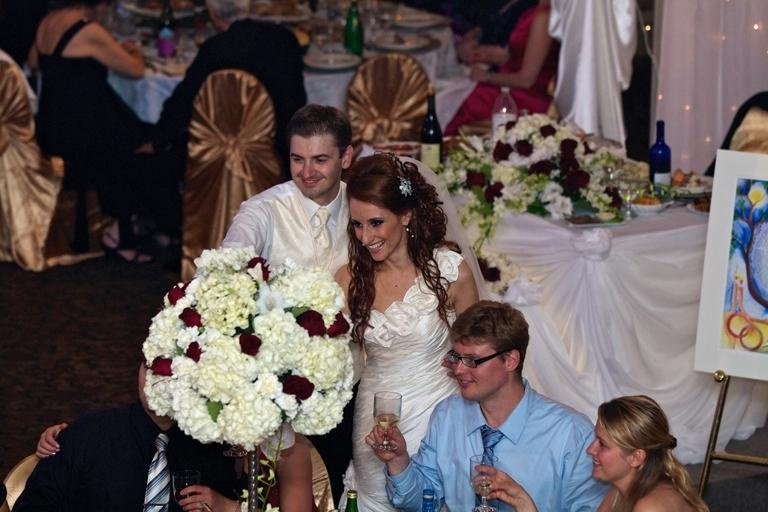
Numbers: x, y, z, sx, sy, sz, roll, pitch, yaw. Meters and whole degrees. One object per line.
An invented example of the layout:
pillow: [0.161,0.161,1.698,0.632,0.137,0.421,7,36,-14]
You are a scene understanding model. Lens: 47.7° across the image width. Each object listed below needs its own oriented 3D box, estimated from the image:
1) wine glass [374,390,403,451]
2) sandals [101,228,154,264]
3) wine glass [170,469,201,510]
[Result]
wine glass: [0.007,0.756,4.011,0.113,0.259,0.076,3,17,2]
sandals: [-1.789,-0.061,6.165,0.390,0.132,0.157,27,-14,-33]
wine glass: [-0.841,0.979,3.638,0.121,0.202,0.129,-1,1,-4]
